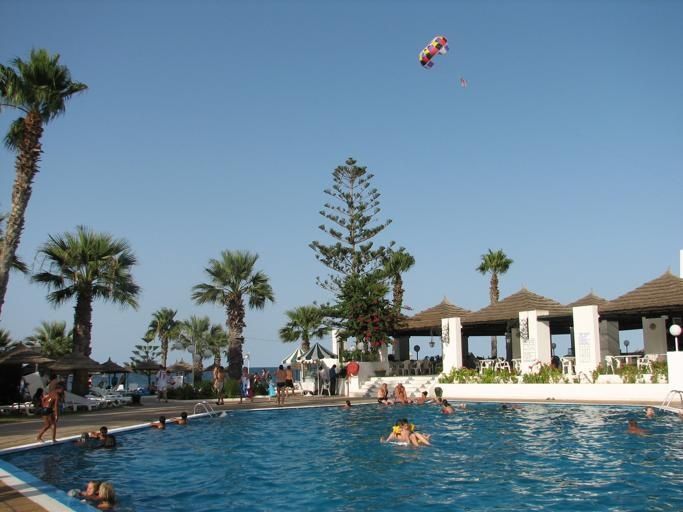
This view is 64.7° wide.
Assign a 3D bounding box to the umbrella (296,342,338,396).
[{"bbox_3d":[-1.450,6.620,32.551,2.663,2.999,2.839,4,-12,-16],"label":"umbrella"}]
